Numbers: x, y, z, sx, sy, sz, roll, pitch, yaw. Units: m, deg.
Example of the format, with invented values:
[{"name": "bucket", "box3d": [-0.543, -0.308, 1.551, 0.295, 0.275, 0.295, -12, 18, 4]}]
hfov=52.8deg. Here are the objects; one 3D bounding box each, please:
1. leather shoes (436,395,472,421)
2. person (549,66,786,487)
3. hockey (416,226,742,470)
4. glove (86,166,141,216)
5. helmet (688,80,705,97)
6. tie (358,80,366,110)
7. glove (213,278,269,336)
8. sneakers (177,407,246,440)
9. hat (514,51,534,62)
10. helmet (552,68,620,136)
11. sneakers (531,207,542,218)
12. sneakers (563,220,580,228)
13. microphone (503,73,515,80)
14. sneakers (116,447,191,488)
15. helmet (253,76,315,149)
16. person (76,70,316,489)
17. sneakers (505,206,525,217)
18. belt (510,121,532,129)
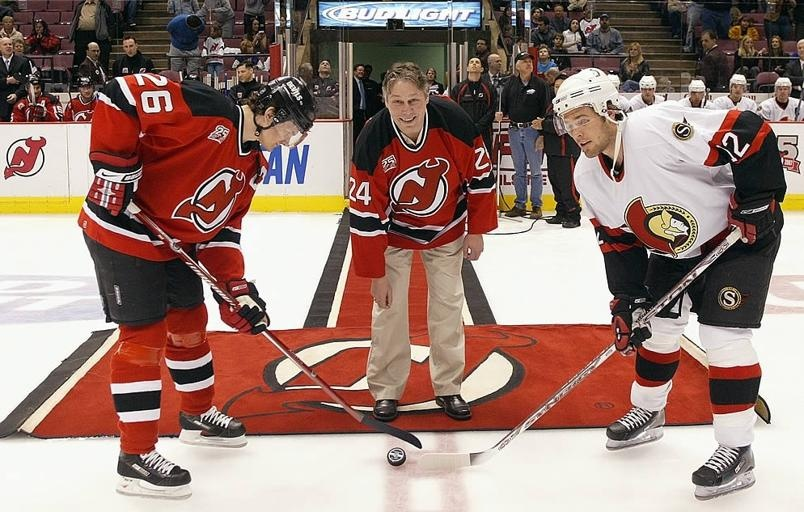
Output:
[{"name": "leather shoes", "box3d": [0.299, 0.859, 4.608, 0.094, 0.098, 0.220, -5, 7, -28]}, {"name": "person", "box3d": [1.357, 0.104, 4.119, 1.018, 2.046, 0.572, 7, 15, 25]}, {"name": "hockey", "box3d": [1.024, 0.575, 4.672, 0.154, 1.762, 0.192, 39, 16, -30]}, {"name": "glove", "box3d": [-1.410, -0.332, 3.919, 0.203, 0.250, 0.107, 23, 30, -10]}, {"name": "helmet", "box3d": [3.577, -2.050, 9.877, 0.206, 0.232, 0.266, 2, 15, 8]}, {"name": "tie", "box3d": [-0.597, -2.443, 12.284, 0.081, 0.315, 0.230, -7, 8, -8]}, {"name": "glove", "box3d": [-0.808, 0.256, 4.254, 0.314, 0.232, 0.140, 43, 27, 9]}, {"name": "sneakers", "box3d": [-1.021, 0.929, 4.482, 0.393, 0.227, 0.154, 0, 2, -4]}, {"name": "hat", "box3d": [1.410, -2.280, 9.282, 0.200, 0.106, 0.281, -8, 8, -13]}, {"name": "helmet", "box3d": [0.898, -0.782, 4.001, 0.356, 0.293, 0.273, -2, 9, -8]}, {"name": "sneakers", "box3d": [1.594, -0.516, 9.547, 0.151, 0.156, 0.406, -1, 1, 10]}, {"name": "sneakers", "box3d": [1.910, -0.361, 9.091, 0.180, 0.116, 0.072, 1, 9, -5]}, {"name": "microphone", "box3d": [1.303, -2.196, 9.894, 0.128, 0.044, 0.126, -8, 17, 19]}, {"name": "sneakers", "box3d": [-1.252, 1.075, 4.124, 0.426, 0.199, 0.147, 1, 1, 0]}, {"name": "helmet", "box3d": [-0.618, -0.764, 4.139, 0.355, 0.368, 0.296, 9, 18, -19]}, {"name": "person", "box3d": [-1.095, 0.107, 4.181, 0.949, 2.045, 0.660, -7, 15, -30]}, {"name": "sneakers", "box3d": [1.359, -0.526, 9.675, 0.259, 0.110, 0.091, 1, 8, 2]}, {"name": "belt", "box3d": [1.382, -1.527, 9.394, 0.264, 0.065, 0.024, 10, 16, 36]}]
